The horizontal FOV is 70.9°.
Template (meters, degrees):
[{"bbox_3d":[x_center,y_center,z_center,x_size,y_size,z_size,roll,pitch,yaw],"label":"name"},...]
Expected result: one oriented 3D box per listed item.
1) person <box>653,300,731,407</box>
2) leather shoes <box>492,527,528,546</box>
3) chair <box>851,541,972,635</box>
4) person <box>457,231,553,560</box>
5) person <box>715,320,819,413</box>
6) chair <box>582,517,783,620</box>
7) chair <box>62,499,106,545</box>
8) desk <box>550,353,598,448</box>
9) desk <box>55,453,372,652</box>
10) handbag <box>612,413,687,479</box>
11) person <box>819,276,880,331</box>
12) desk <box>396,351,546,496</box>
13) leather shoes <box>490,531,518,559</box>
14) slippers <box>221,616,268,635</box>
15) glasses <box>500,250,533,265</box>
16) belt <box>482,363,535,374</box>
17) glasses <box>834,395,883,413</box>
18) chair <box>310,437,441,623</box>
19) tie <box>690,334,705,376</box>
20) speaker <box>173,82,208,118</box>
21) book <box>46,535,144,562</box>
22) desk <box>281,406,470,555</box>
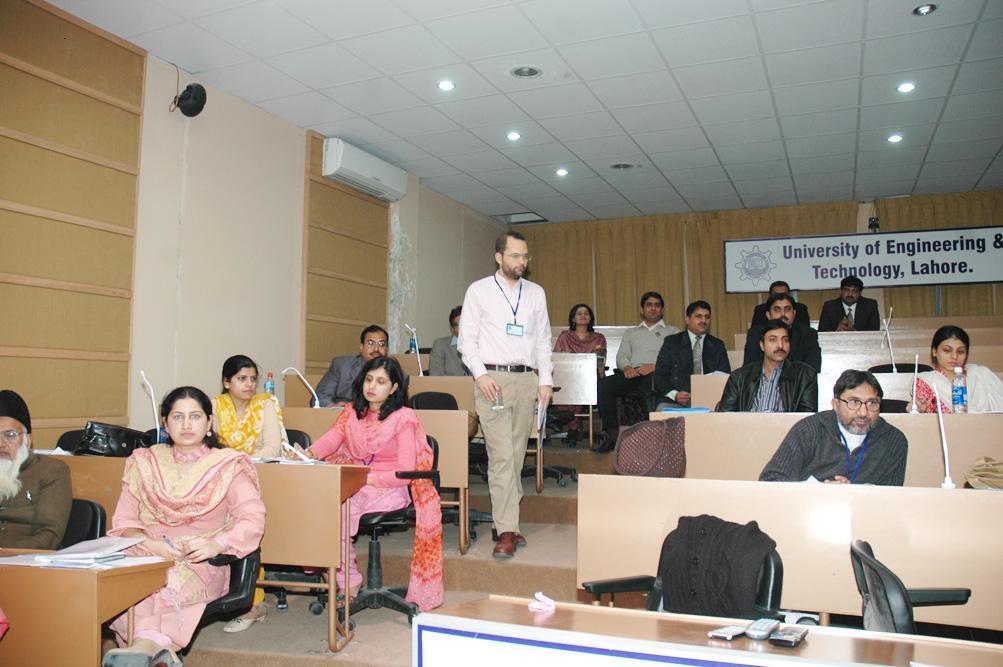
[{"bbox_3d":[1.918,0.307,7.014,0.779,1.235,0.719,13,-10,-43],"label":"person"},{"bbox_3d":[0.066,1.450,5.044,0.115,0.149,0.355,-3,-28,17],"label":"leather shoes"},{"bbox_3d":[1.470,0.919,2.592,0.403,0.293,0.311,-6,-15,20],"label":"chair"},{"bbox_3d":[0.049,0.409,4.870,0.660,2.204,0.407,2,-3,-16],"label":"person"},{"bbox_3d":[1.924,0.296,5.144,0.848,0.748,0.499,-1,-4,33],"label":"person"},{"bbox_3d":[0.785,0.968,2.948,0.532,0.690,0.576,-13,-25,42],"label":"chair"},{"bbox_3d":[-2.196,0.992,3.699,0.190,0.260,0.220,2,-7,0],"label":"chair"},{"bbox_3d":[0.771,0.687,7.290,0.462,0.969,0.809,0,-3,8],"label":"desk"},{"bbox_3d":[-1.563,1.300,4.280,1.617,0.910,0.518,-3,-17,18],"label":"desk"},{"bbox_3d":[0.805,0.612,3.825,0.375,0.306,0.255,0,-3,7],"label":"handbag"},{"bbox_3d":[4.120,-0.281,8.298,0.604,0.747,0.884,-2,-24,23],"label":"person"},{"bbox_3d":[-0.254,0.694,6.283,1.450,0.969,1.007,-2,-6,25],"label":"desk"},{"bbox_3d":[0.035,1.434,4.822,0.120,0.173,0.213,0,-3,18],"label":"leather shoes"},{"bbox_3d":[-1.560,1.775,4.317,0.073,0.071,0.201,-5,-14,41],"label":"slippers"},{"bbox_3d":[0.112,-0.511,4.782,0.208,0.091,0.103,2,-3,-20],"label":"glasses"},{"bbox_3d":[0.057,0.242,4.860,0.328,0.065,0.092,1,-3,-1],"label":"belt"},{"bbox_3d":[1.993,0.389,3.943,0.220,0.081,0.070,0,-3,18],"label":"glasses"},{"bbox_3d":[-0.812,1.258,4.483,0.652,0.995,0.618,-14,-14,39],"label":"chair"},{"bbox_3d":[1.948,0.186,6.982,0.133,0.381,0.126,0,-3,14],"label":"tie"},{"bbox_3d":[-2.825,-2.166,6.489,0.174,0.354,0.336,-1,-3,33],"label":"speaker"},{"bbox_3d":[-1.870,0.991,3.250,0.185,0.045,0.196,-1,0,18],"label":"book"},{"bbox_3d":[-0.994,1.088,5.315,1.626,1.007,0.515,1,-9,18],"label":"desk"}]
